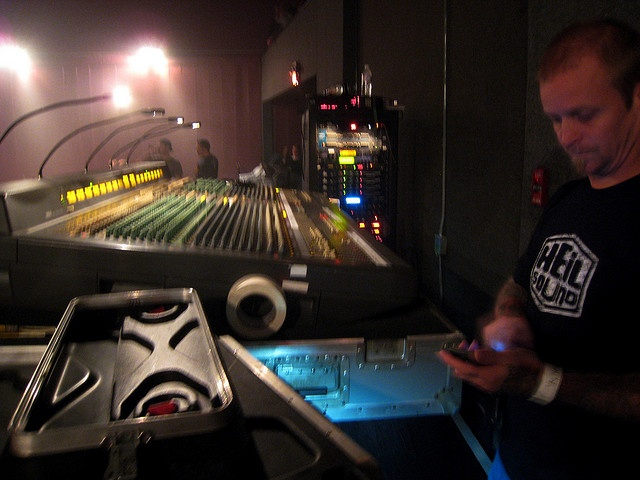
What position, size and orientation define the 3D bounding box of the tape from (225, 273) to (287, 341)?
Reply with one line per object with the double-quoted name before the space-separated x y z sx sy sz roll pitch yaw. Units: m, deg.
"tape" -0.152 0.161 1.108 0.142 0.155 0.050 -11 24 0
